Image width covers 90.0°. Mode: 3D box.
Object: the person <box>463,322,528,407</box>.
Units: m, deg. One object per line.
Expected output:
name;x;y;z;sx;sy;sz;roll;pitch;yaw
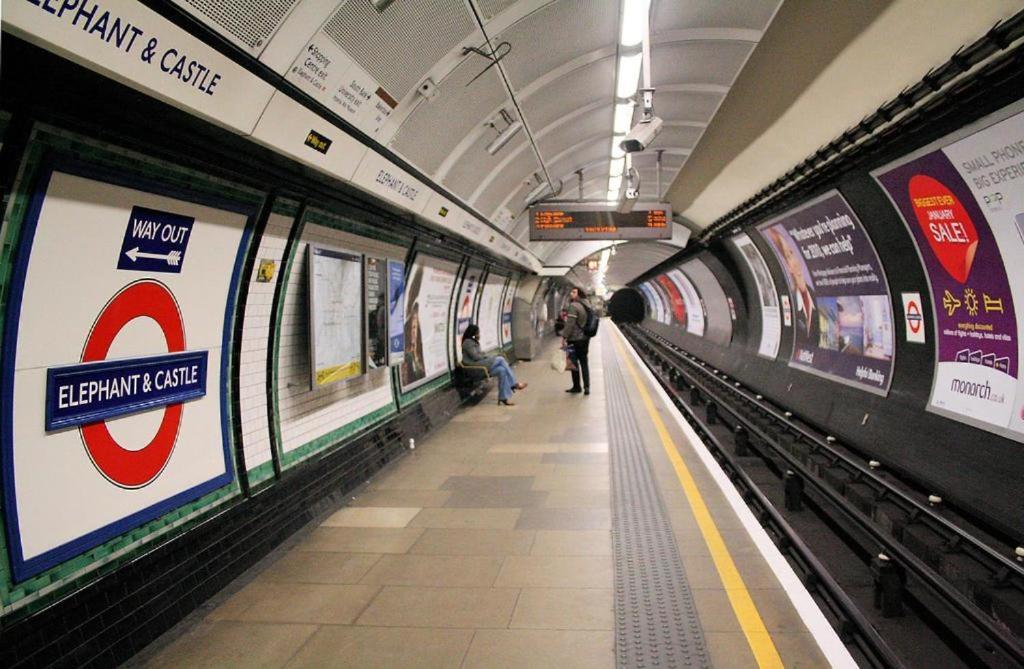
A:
person;-0.521;0.628;11.023;1.109;1.714;0.848;-3;11;0

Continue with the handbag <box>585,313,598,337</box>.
handbag;1.771;-0.216;11.401;0.212;0.575;0.712;0;11;14

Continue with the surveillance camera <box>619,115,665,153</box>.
surveillance camera;1.628;-2.550;6.566;0.486;0.379;0.347;-1;11;7

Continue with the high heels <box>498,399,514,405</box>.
high heels;-0.109;1.452;10.956;0.357;0.144;0.115;-5;8;2

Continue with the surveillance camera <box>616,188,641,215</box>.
surveillance camera;2.267;-2.637;10.093;0.403;0.455;0.850;-1;11;10
